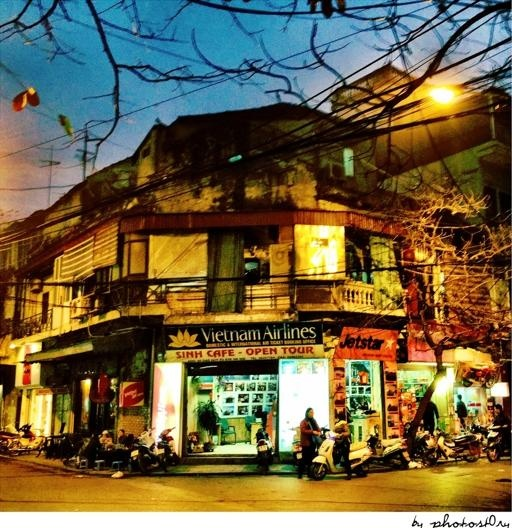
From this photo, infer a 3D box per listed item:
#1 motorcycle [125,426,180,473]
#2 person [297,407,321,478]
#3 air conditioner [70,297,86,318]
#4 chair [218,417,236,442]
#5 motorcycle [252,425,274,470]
[{"bbox_3d":[-2.769,5.071,15.171,1.197,1.077,1.517,0,-16,-5],"label":"motorcycle"},{"bbox_3d":[1.243,4.278,13.300,0.587,1.565,0.502,-3,-18,4],"label":"person"},{"bbox_3d":[-6.433,1.577,20.374,0.419,0.893,1.881,6,-16,-23],"label":"air conditioner"},{"bbox_3d":[-0.998,5.659,18.852,0.323,0.840,0.586,-14,-21,33],"label":"chair"},{"bbox_3d":[0.200,4.894,14.607,0.375,1.043,0.684,-3,-17,2],"label":"motorcycle"}]
